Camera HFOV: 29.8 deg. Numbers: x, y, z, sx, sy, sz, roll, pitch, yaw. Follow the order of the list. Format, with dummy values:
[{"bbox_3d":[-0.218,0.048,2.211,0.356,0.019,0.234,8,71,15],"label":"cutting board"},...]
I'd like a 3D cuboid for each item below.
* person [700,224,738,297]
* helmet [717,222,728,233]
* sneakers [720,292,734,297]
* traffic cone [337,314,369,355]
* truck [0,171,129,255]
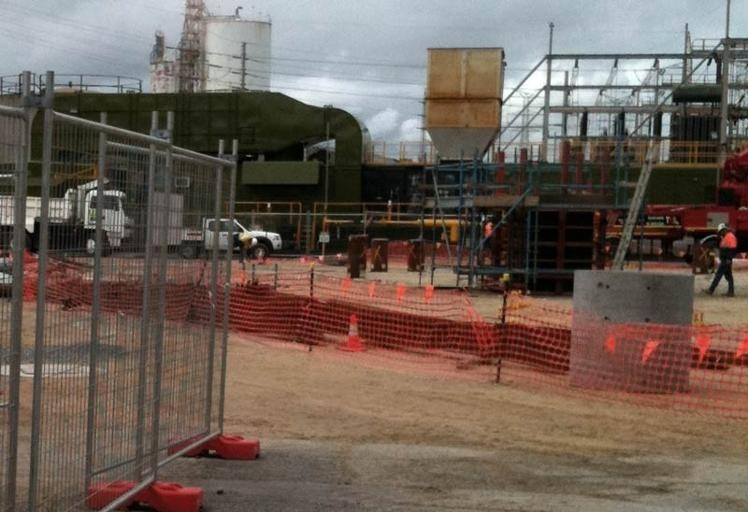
[{"bbox_3d":[8.143,0.110,32.869,0.678,1.659,0.691,1,-3,24],"label":"person"},{"bbox_3d":[8.959,-0.698,36.166,0.331,0.144,0.451,-25,6,6],"label":"helmet"},{"bbox_3d":[8.168,0.900,32.348,0.234,0.105,0.090,3,1,18],"label":"sneakers"},{"bbox_3d":[-0.422,1.443,26.694,0.495,0.665,0.720,3,6,-8],"label":"traffic cone"},{"bbox_3d":[-4.561,-0.518,19.970,2.079,1.058,0.750,-2,6,-16],"label":"truck"}]
